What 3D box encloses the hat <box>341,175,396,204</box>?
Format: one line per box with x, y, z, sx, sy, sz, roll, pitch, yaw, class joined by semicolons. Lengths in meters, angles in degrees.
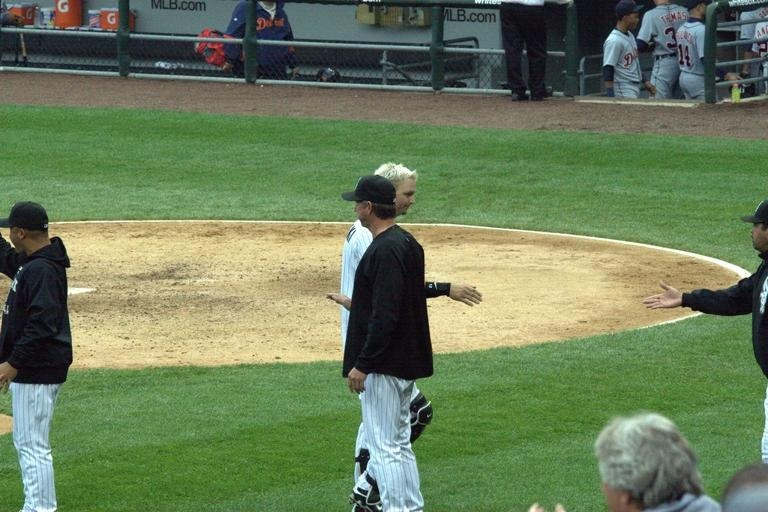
-0.154;-0.709;18.450;0.528;0.260;0.336;8;10;12;hat

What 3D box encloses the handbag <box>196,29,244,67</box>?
-3.541;-4.311;34.284;1.108;0.530;0.754;11;29;-3;handbag
